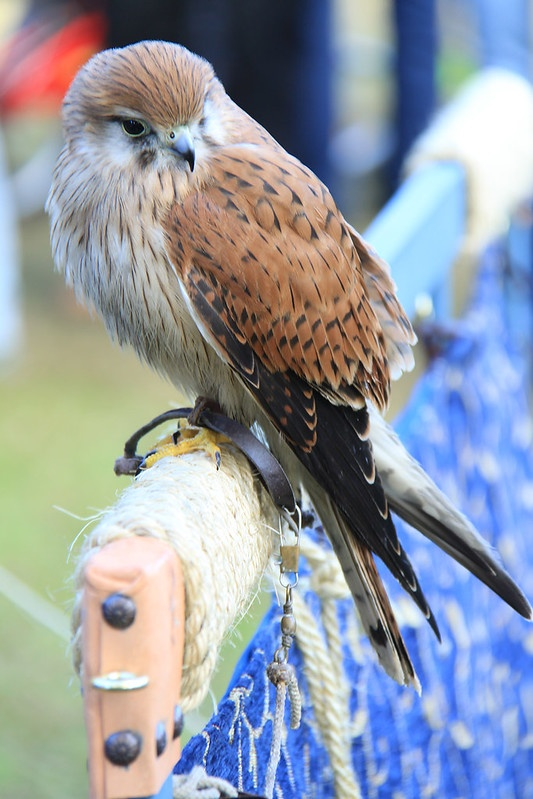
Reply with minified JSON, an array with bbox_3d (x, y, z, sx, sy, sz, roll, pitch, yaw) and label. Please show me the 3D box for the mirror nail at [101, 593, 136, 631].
[{"bbox_3d":[-0.152,0.220,1.314,0.034,0.033,0.017,1,31,14],"label":"mirror nail"}]
